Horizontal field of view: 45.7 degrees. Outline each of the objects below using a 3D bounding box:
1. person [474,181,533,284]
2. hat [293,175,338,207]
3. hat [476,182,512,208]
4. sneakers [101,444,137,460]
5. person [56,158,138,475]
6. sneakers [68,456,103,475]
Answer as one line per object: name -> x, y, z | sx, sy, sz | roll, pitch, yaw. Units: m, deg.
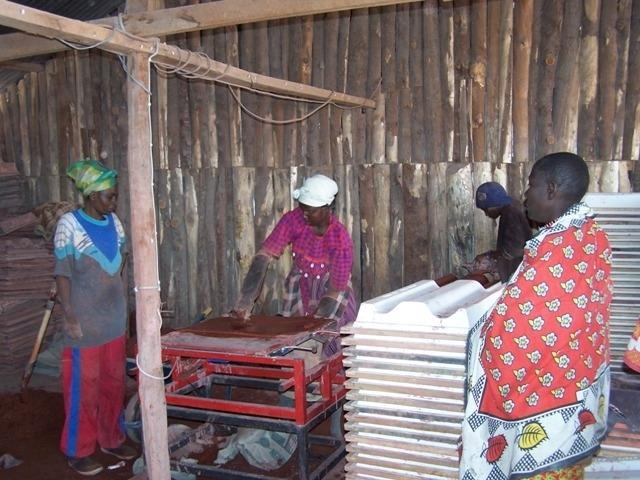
person -> 1.759, -0.090, 7.334 | 0.532, 1.475, 0.592 | 2, 15, 26
hat -> -0.006, -0.419, 6.785 | 0.245, 0.188, 0.335 | 30, 18, 14
hat -> 1.775, -0.460, 7.792 | 0.272, 0.210, 0.242 | -6, 18, 3
sneakers -> -1.840, 1.949, 6.999 | 0.301, 0.143, 0.136 | 2, 3, 12
person -> -2.007, 0.679, 6.814 | 0.677, 2.778, 0.373 | 0, 3, -23
sneakers -> -2.068, 1.986, 6.757 | 0.261, 0.130, 0.135 | 1, 4, 21
